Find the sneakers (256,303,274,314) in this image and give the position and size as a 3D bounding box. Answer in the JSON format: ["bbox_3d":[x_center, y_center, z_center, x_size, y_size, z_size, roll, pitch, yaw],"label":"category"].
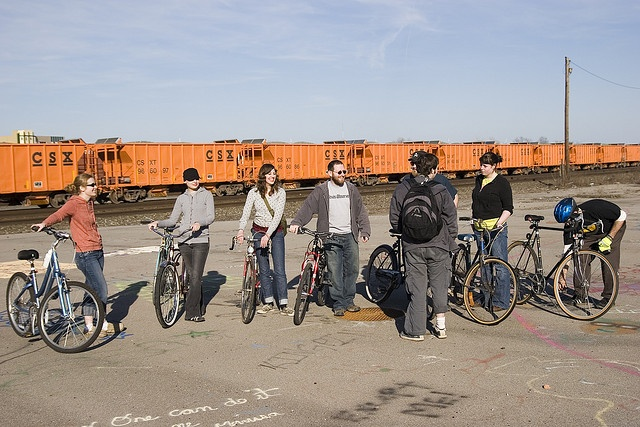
[{"bbox_3d":[-0.854,1.486,7.810,0.254,0.109,0.107,2,-9,-3],"label":"sneakers"}]

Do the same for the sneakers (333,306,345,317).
[{"bbox_3d":[0.291,1.477,7.603,0.175,0.114,0.221,-1,8,3],"label":"sneakers"}]

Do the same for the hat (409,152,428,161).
[{"bbox_3d":[1.384,-0.824,7.084,0.198,0.096,0.127,-6,2,10],"label":"hat"}]

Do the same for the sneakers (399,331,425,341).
[{"bbox_3d":[1.236,1.589,6.584,0.265,0.112,0.106,7,7,34],"label":"sneakers"}]

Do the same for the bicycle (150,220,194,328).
[{"bbox_3d":[-2.193,0.899,7.278,0.411,1.383,0.972,-1,8,1],"label":"bicycle"}]

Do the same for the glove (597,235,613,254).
[{"bbox_3d":[4.215,0.444,7.335,0.196,0.225,0.083,36,8,27],"label":"glove"}]

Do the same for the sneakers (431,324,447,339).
[{"bbox_3d":[1.623,1.569,6.736,0.092,0.102,0.249,0,5,-5],"label":"sneakers"}]

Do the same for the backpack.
[{"bbox_3d":[1.353,-0.049,6.674,0.612,0.789,0.447,-3,10,31],"label":"backpack"}]

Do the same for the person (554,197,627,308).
[{"bbox_3d":[4.084,0.543,7.556,0.906,1.553,0.864,3,9,30],"label":"person"}]

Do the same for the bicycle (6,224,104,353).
[{"bbox_3d":[-3.537,0.933,6.580,1.674,1.534,0.756,7,11,44],"label":"bicycle"}]

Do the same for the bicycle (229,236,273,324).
[{"bbox_3d":[-1.034,0.942,7.911,0.891,1.175,2.066,5,-2,-2],"label":"bicycle"}]

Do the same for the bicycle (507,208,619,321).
[{"bbox_3d":[3.614,0.781,7.903,0.571,1.447,2.426,9,-2,-15],"label":"bicycle"}]

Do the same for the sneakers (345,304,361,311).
[{"bbox_3d":[0.525,1.452,7.735,0.168,0.068,0.101,-5,-3,34],"label":"sneakers"}]

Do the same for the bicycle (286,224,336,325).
[{"bbox_3d":[-0.106,0.869,7.648,0.576,1.388,1.365,0,8,7],"label":"bicycle"}]

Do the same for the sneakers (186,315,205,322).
[{"bbox_3d":[-1.842,1.543,7.364,0.253,0.065,0.100,-3,-3,29],"label":"sneakers"}]
